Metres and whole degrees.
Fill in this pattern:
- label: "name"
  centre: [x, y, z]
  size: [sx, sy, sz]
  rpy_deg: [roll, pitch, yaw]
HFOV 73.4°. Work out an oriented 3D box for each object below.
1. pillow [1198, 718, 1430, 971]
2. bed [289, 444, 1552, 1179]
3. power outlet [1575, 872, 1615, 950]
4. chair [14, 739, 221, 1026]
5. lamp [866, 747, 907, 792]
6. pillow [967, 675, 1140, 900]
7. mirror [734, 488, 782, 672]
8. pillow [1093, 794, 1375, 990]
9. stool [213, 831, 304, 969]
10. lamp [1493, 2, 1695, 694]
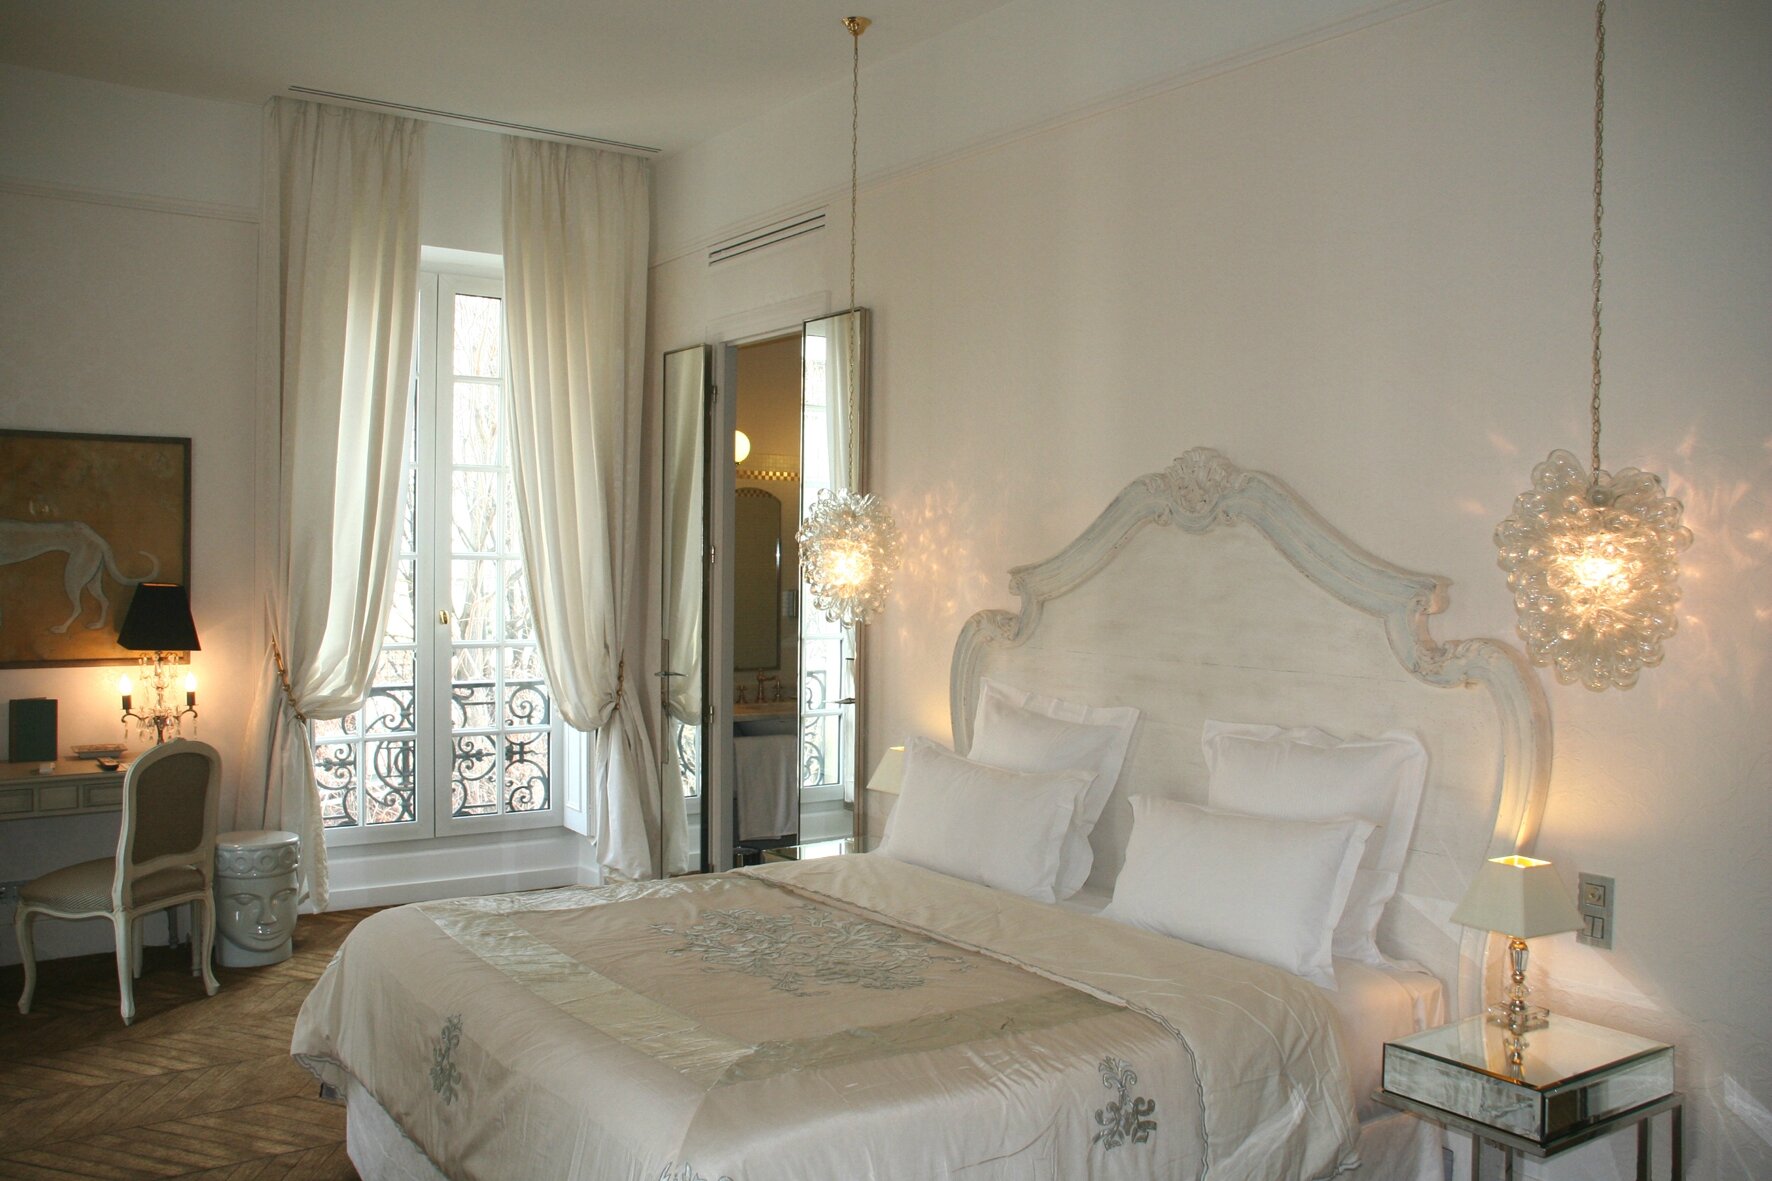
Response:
- label: "pillow"
  centre: [1.381, 0.824, 3.764]
  size: [0.746, 0.733, 0.385]
  rpy_deg: [-1, 2, 41]
- label: "bed"
  centre: [0.100, 0.724, 4.315]
  size: [2.965, 2.247, 2.738]
  rpy_deg: [0, 1, -27]
- label: "power outlet"
  centre: [2.112, 0.946, 3.534]
  size: [0.083, 0.213, 0.023]
  rpy_deg: [4, 7, 41]
- label: "chair"
  centre: [-3.305, 1.241, 5.123]
  size: [0.772, 1.161, 0.492]
  rpy_deg: [-3, 10, -30]
- label: "lamp"
  centre: [0.011, 0.765, 5.151]
  size: [0.181, 0.136, 0.171]
  rpy_deg: [3, -5, 28]
- label: "pillow"
  centre: [0.644, 0.730, 4.504]
  size: [0.651, 0.667, 0.178]
  rpy_deg: [4, -12, 46]
- label: "mirror"
  centre: [-0.785, -0.065, 7.142]
  size: [0.399, 1.109, 0.050]
  rpy_deg: [5, 10, 22]
- label: "pillow"
  centre: [1.092, 0.903, 3.733]
  size: [0.955, 0.398, 0.404]
  rpy_deg: [8, 15, 43]
- label: "stool"
  centre: [-3.071, 1.492, 5.800]
  size: [0.412, 0.605, 0.427]
  rpy_deg: [1, 1, -31]
- label: "lamp"
  centre: [2.078, -0.665, 3.374]
  size: [0.466, 1.927, 0.482]
  rpy_deg: [8, 11, 35]
